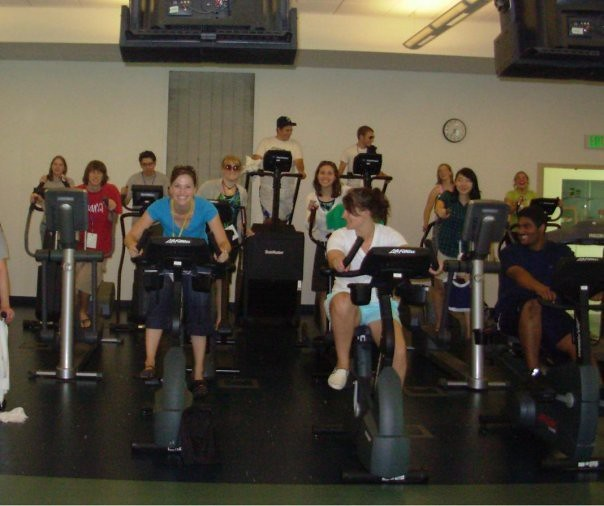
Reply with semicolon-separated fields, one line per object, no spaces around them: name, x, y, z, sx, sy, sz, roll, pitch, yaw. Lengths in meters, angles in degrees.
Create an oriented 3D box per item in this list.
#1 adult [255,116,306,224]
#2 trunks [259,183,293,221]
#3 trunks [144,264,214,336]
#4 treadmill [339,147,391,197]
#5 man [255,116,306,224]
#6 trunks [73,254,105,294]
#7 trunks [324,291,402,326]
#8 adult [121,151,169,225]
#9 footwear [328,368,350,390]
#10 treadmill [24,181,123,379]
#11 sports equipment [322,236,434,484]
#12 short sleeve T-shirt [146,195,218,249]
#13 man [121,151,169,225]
adult;-0.269;-0.709;6.897;0.569;1.460;0.493;0;12;-11
trunks;-0.276;-0.586;6.876;0.347;0.456;0.162;3;4;-23
trunks;-0.725;0.271;3.801;0.394;0.535;0.220;2;41;-4
treadmill;0.585;-0.796;5.946;0.460;0.377;0.915;-1;2;0
man;-0.255;-0.716;6.893;0.560;1.452;0.487;-2;19;-14
trunks;-1.889;0.201;5.676;0.301;0.397;0.136;9;-11;-25
trunks;0.424;0.327;3.748;0.224;0.120;0.316;1;-21;-3
adult;-1.674;-0.658;6.902;0.572;0.875;0.495;2;15;-4
footwear;0.221;0.732;3.830;0.078;0.073;0.178;7;16;0
treadmill;-1.751;0.178;4.819;0.502;1.327;1.079;0;6;-18
sports equipment;0.396;0.503;3.353;0.524;1.153;0.708;2;6;3
short sleeve T-shirt;-0.728;-0.271;4.133;0.495;0.508;0.270;-1;11;-3
man;-1.667;-0.669;6.902;0.560;0.869;0.470;-1;13;-9
